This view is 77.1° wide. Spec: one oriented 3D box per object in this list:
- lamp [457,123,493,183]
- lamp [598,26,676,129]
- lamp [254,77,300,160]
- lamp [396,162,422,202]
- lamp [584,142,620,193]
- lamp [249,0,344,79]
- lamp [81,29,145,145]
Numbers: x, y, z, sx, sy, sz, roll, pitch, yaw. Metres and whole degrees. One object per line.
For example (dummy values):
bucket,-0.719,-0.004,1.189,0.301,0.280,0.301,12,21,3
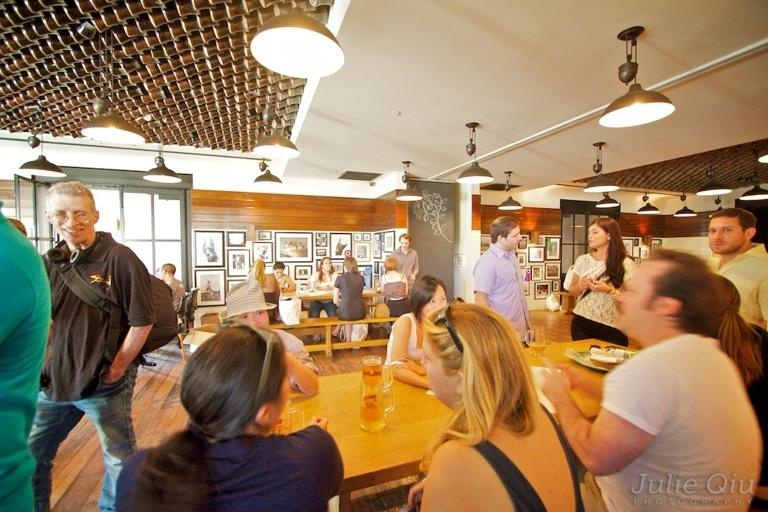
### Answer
lamp,1.079,-1.279,5.882,0.412,0.651,0.425,1,8,45
lamp,2.089,-1.543,4.059,0.598,0.654,0.565,-12,16,-7
lamp,-1.153,-1.354,4.787,0.394,0.668,0.388,-11,-15,-1
lamp,0.402,-1.243,7.795,0.506,0.548,0.494,-6,13,4
lamp,2.738,-1.157,6.138,0.353,0.541,0.353,-5,4,28
lamp,-0.593,-1.689,3.605,0.648,0.314,0.630,15,-13,-42
lamp,-2.495,-1.467,4.305,0.452,0.711,0.416,-12,1,-22
